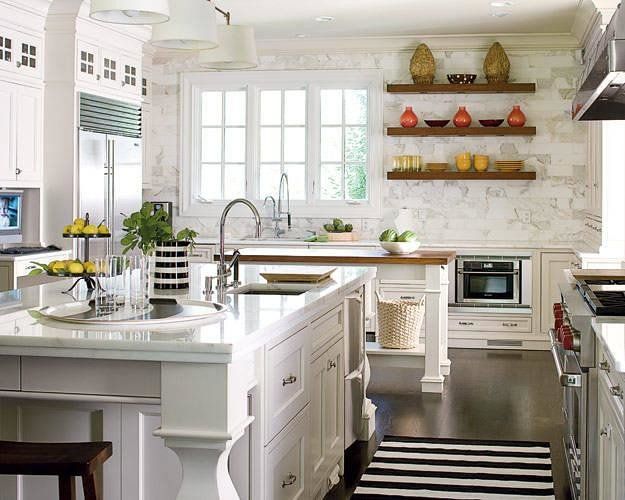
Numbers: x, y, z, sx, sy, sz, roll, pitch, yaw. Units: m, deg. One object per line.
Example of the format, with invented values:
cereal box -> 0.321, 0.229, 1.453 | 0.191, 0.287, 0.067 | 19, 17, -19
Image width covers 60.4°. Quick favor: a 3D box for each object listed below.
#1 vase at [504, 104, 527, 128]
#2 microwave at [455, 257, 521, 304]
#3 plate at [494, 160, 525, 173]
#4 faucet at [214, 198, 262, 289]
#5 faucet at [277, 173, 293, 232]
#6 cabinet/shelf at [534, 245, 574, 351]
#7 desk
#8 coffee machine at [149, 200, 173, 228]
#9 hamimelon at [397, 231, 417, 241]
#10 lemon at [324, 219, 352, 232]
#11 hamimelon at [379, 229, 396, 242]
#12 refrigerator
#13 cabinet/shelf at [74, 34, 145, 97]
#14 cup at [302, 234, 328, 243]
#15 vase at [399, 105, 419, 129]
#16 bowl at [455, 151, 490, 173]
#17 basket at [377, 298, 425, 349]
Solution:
vase -> 2.371, -1.552, 6.454 | 0.289, 0.305, 0.271 | 1, -1, 3
microwave -> 1.919, 0.404, 6.221 | 0.823, 0.494, 0.497 | 2, -5, -12
plate -> 2.363, -0.988, 6.471 | 0.321, 0.143, 0.213 | 0, 3, 18
faucet -> -0.405, -0.008, 3.007 | 0.273, 0.501, 0.122 | -1, -15, -31
faucet -> -0.367, -0.616, 6.969 | 0.189, 0.764, 0.248 | -1, 3, -3
cabinet/shelf -> 2.670, 0.565, 5.999 | 0.411, 1.102, 0.196 | 0, 3, 11
desk -> -0.086, 0.689, 4.554 | 2.232, 1.200, 1.033 | -6, 7, -24
coffee machine -> -1.933, -0.460, 6.972 | 0.258, 0.325, 0.502 | -1, 3, -15
hamimelon -> 0.871, -0.120, 4.984 | 0.144, 0.055, 0.152 | 1, 14, 9
lemon -> 0.324, -0.292, 6.736 | 0.354, 0.176, 0.407 | 0, 2, 3
hamimelon -> 0.693, -0.098, 4.888 | 0.134, 0.086, 0.134 | 9, 39, 19
refrigerator -> -2.406, -0.598, 6.127 | 0.510, 1.329, 0.797 | 24, 26, 31
cabinet/shelf -> -2.290, -1.973, 5.994 | 0.175, 0.456, 1.087 | 6, 9, 18
cup -> 0.046, -0.124, 6.412 | 0.271, 0.078, 0.161 | -1, 2, -1
vase -> 1.129, -1.599, 6.638 | 0.282, 0.261, 0.261 | 0, 1, -3
bowl -> 1.919, -1.036, 6.499 | 0.390, 0.187, 0.226 | 0, 5, 13
basket -> 0.684, 0.583, 4.583 | 0.538, 0.492, 0.410 | 1, -3, 3
